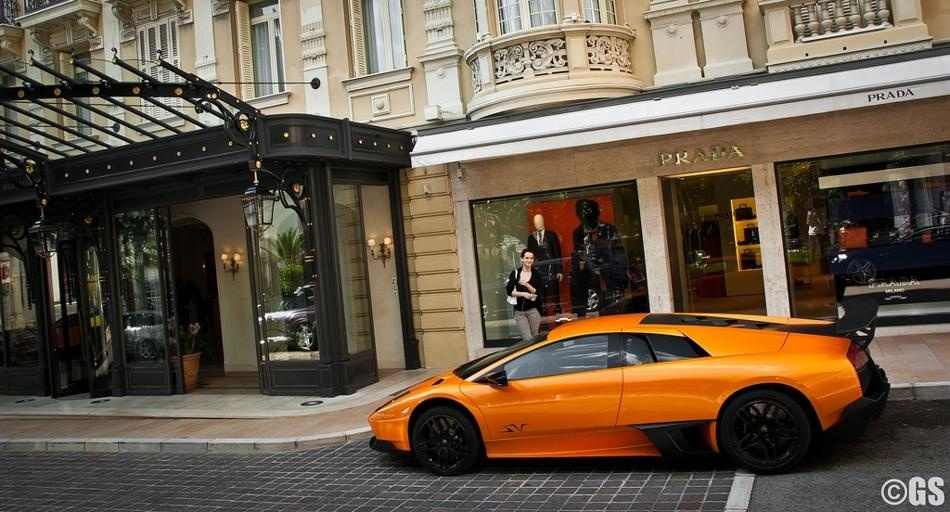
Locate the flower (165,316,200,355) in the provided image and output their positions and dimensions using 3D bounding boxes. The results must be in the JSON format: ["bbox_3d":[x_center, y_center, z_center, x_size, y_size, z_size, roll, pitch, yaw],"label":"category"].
[{"bbox_3d":[-7.973,2.250,20.594,0.734,0.663,0.832,-1,7,35],"label":"flower"}]

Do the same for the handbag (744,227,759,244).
[{"bbox_3d":[7.030,-0.552,18.953,0.415,0.214,0.382,4,-39,29],"label":"handbag"}]

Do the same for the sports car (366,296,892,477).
[{"bbox_3d":[2.792,2.335,13.386,7.021,1.750,3.647,-1,-2,12],"label":"sports car"}]

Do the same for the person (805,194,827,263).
[{"bbox_3d":[8.107,-0.604,17.752,0.397,1.566,0.379,-2,15,26],"label":"person"}]

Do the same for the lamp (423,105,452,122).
[{"bbox_3d":[-1.051,-3.728,19.457,0.519,0.281,0.488,1,4,16],"label":"lamp"}]

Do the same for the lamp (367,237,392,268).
[{"bbox_3d":[-2.646,-0.143,20.402,0.910,0.846,0.347,-4,-4,13],"label":"lamp"}]

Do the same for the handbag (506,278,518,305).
[{"bbox_3d":[0.777,0.819,16.811,0.201,0.484,0.374,3,1,5],"label":"handbag"}]

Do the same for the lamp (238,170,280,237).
[{"bbox_3d":[-5.134,-1.264,17.677,0.824,1.562,1.229,-11,13,-11],"label":"lamp"}]
